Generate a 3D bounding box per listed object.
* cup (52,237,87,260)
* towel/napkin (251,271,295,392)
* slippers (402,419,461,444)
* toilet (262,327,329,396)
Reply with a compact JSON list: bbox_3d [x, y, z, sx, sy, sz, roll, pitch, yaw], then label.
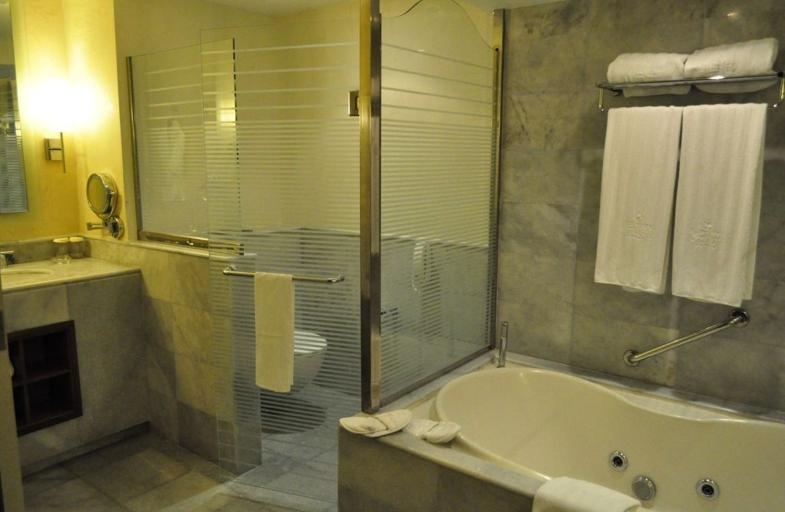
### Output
[{"bbox_3d":[-2.404,-0.063,4.848,0.080,0.164,0.216,9,17,38],"label":"cup"},{"bbox_3d":[-0.729,0.458,3.844,0.273,0.689,0.075,8,-18,-34],"label":"towel/napkin"},{"bbox_3d":[0.203,0.899,3.390,0.221,0.049,0.124,4,14,23],"label":"slippers"},{"bbox_3d":[-0.553,0.623,3.729,0.339,0.220,0.304,1,7,5],"label":"toilet"}]
